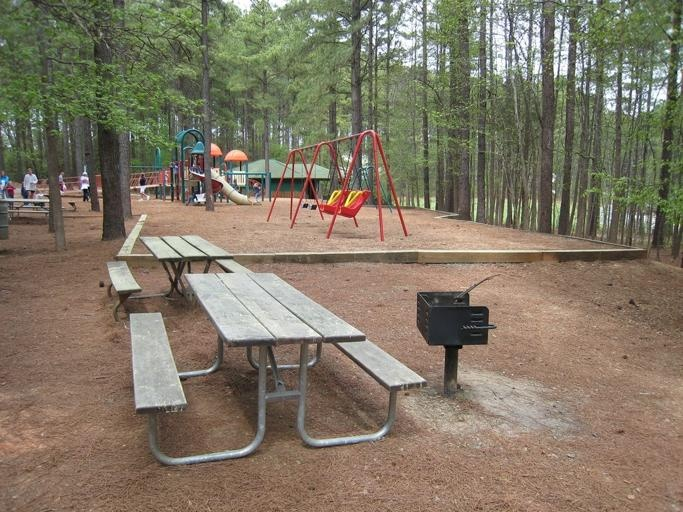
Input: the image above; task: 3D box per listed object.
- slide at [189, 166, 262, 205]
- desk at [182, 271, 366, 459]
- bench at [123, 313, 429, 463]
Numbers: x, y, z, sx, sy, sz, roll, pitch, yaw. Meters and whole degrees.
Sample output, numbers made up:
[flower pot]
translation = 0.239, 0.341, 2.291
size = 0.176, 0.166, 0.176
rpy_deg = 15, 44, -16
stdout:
[slide]
translation = -5.504, -3.044, 25.465
size = 3.091, 1.586, 3.131
rpy_deg = -9, 13, -38
[desk]
translation = -0.612, 0.616, 5.131
size = 1.258, 0.895, 2.432
rpy_deg = 1, 6, -15
[bench]
translation = -0.864, 1.125, 5.058
size = 2.452, 0.901, 1.471
rpy_deg = 0, 11, 1
